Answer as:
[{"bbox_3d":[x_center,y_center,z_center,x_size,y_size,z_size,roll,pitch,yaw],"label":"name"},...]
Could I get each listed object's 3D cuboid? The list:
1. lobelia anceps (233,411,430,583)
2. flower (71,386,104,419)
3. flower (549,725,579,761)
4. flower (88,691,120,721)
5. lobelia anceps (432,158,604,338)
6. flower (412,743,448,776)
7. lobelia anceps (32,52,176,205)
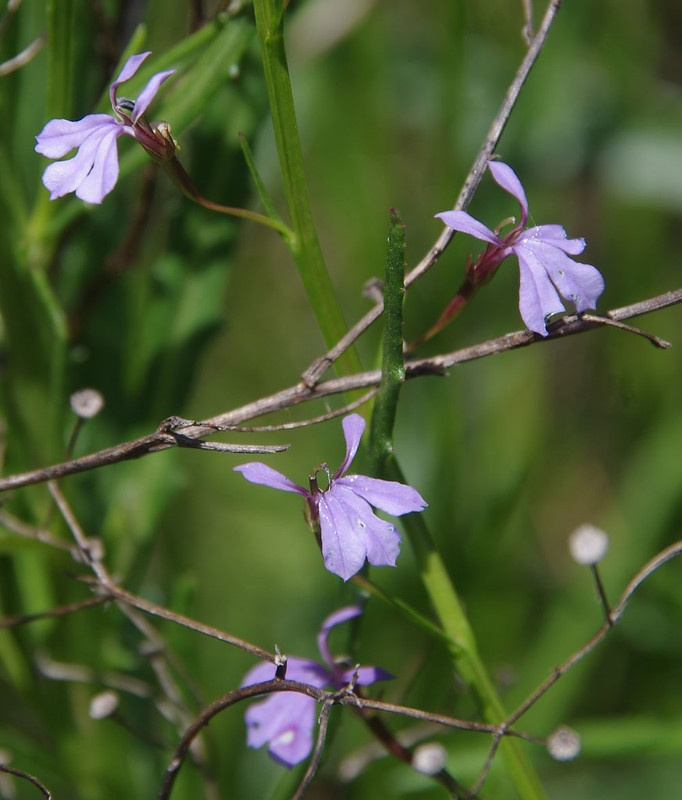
[{"bbox_3d":[-0.008,0.038,0.425,0.091,0.085,0.034,31,-85,18],"label":"lobelia anceps"},{"bbox_3d":[-0.136,0.004,0.542,0.016,0.016,0.018,22,-97,-5],"label":"flower"},{"bbox_3d":[0.101,0.156,0.448,0.014,0.014,0.015,-13,-53,20],"label":"flower"},{"bbox_3d":[-0.120,0.154,0.500,0.017,0.012,0.010,-46,-29,5],"label":"flower"},{"bbox_3d":[0.077,-0.068,0.460,0.053,0.090,0.089,-1,-73,-18],"label":"lobelia anceps"},{"bbox_3d":[0.043,0.174,0.479,0.016,0.011,0.018,7,-81,6],"label":"flower"},{"bbox_3d":[-0.108,-0.125,0.463,0.081,0.075,0.036,-15,-64,10],"label":"lobelia anceps"}]
